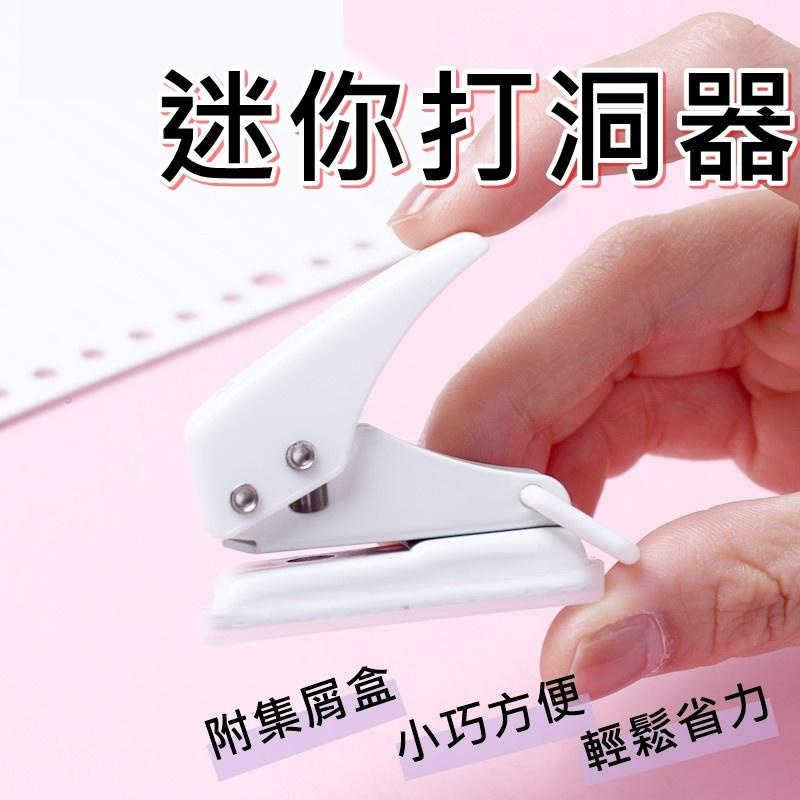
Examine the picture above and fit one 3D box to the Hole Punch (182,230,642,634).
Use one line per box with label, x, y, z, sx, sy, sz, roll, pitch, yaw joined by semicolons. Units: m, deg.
Hole Punch;0.010;0.010;0.601;0.293;0.223;0.166;-4;2;-3
